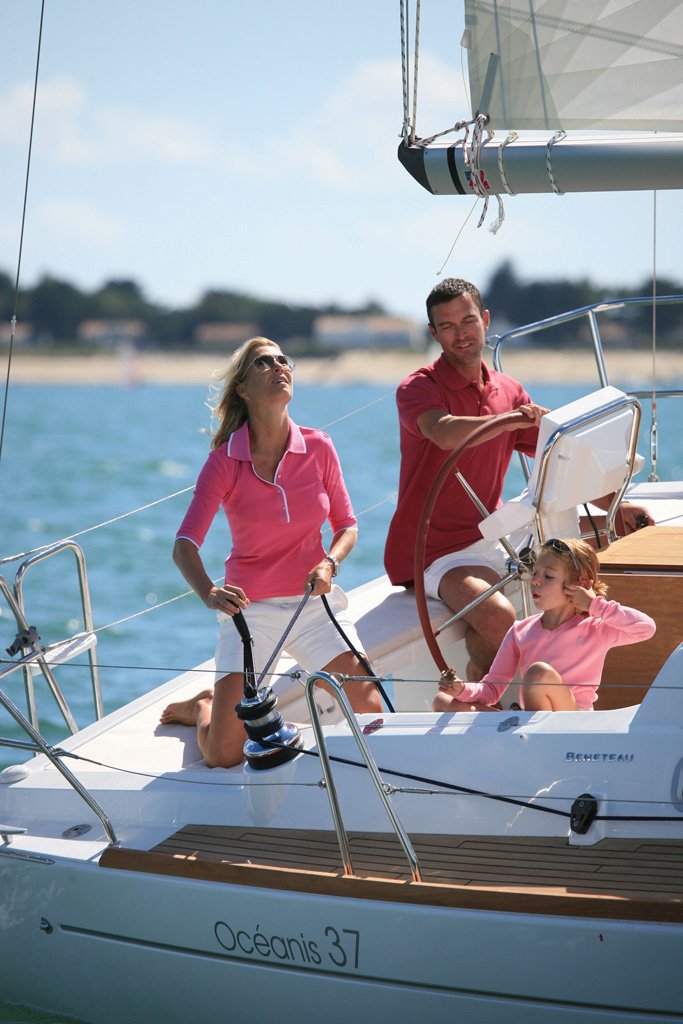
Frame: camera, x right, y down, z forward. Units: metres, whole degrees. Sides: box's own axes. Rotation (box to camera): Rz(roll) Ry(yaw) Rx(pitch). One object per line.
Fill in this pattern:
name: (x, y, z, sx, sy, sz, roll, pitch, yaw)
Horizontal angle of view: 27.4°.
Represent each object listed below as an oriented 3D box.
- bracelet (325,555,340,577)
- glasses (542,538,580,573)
bracelet: (-0.021, 0.116, 3.092, 0.028, 0.035, 0.038, -23, -30, -25)
glasses: (0.438, 0.086, 2.812, 0.063, 0.055, 0.019, 14, 50, 32)
